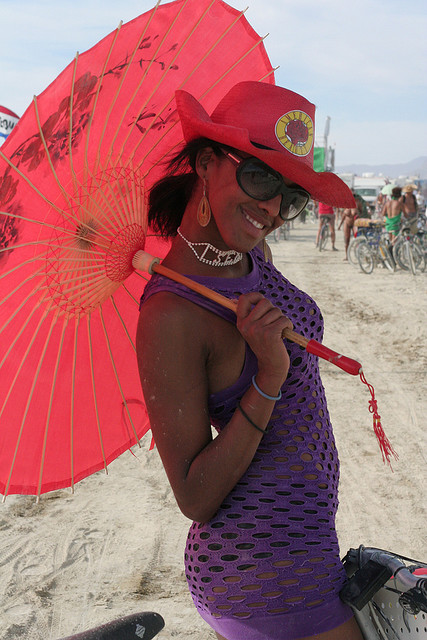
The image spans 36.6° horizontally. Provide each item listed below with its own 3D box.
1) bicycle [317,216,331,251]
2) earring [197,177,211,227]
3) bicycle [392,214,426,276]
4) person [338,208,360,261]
[{"bbox_3d":[2.968,-2.313,17.253,0.455,0.478,0.859,2,26,13],"label":"bicycle"},{"bbox_3d":[-0.023,-0.262,1.446,0.022,0.107,0.052,-7,17,-24],"label":"earring"},{"bbox_3d":[3.850,-1.384,12.209,0.601,0.677,1.150,-17,22,5],"label":"bicycle"},{"bbox_3d":[2.928,-1.953,13.710,0.537,1.358,0.442,2,-30,17],"label":"person"}]
